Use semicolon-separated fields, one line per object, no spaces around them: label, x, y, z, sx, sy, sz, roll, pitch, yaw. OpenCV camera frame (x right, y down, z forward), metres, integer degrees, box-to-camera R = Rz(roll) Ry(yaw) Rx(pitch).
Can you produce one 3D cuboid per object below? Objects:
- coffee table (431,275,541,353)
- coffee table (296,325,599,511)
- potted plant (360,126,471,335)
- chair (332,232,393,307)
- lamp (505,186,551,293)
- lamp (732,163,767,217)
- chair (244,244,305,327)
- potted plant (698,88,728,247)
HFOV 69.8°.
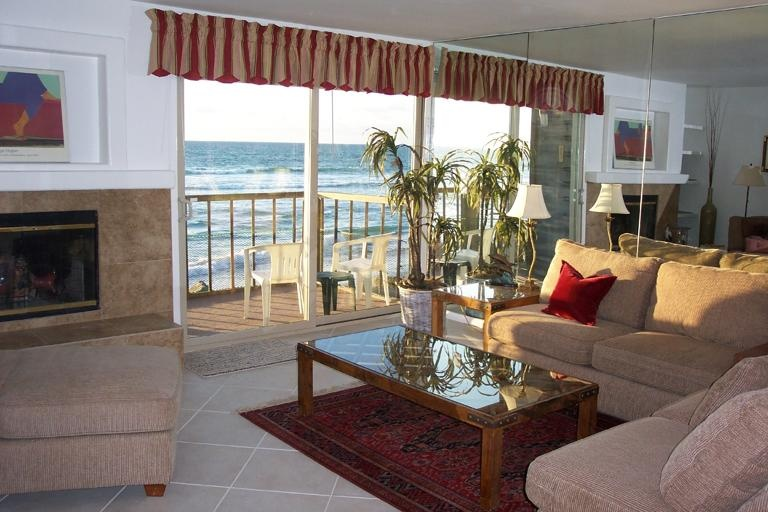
coffee table;0.974;0.475;5.129;0.709;0.490;0.680;-4;9;-34
coffee table;0.394;1.029;3.861;1.810;0.736;0.891;4;10;42
potted plant;0.383;-0.341;6.039;1.009;2.155;1.126;2;10;34
chair;-0.245;0.163;6.323;0.642;0.722;0.579;4;9;24
lamp;1.394;-0.182;5.323;0.498;0.908;0.459;-2;5;-14
lamp;2.982;-0.541;4.501;0.206;0.414;0.058;0;9;24
chair;-1.119;0.260;5.942;0.659;0.767;0.698;0;3;37
potted plant;2.753;-0.742;4.648;0.152;1.311;0.177;4;11;42
